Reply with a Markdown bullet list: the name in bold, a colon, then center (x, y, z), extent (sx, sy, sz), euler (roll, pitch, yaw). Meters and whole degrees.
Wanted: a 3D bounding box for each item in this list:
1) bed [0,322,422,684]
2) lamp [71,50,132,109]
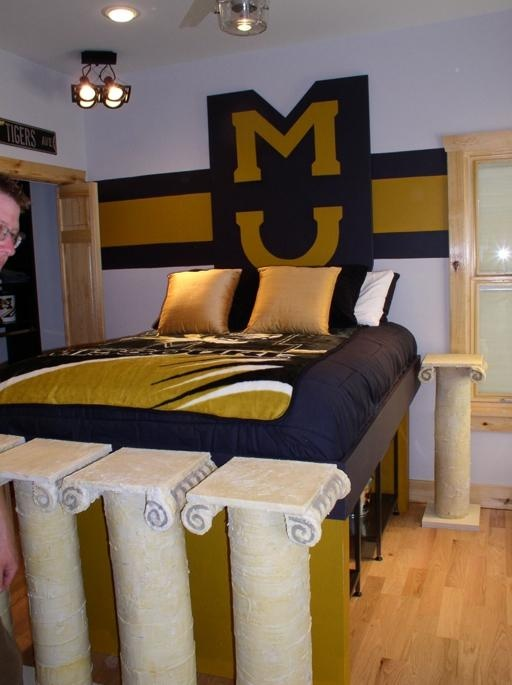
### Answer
- **bed**: center (0.052, 0.381, 1.927), extent (1.082, 0.622, 1.130), euler (2, 9, 20)
- **lamp**: center (-0.989, -1.696, 3.573), extent (0.394, 0.359, 0.205), euler (4, 6, 4)
